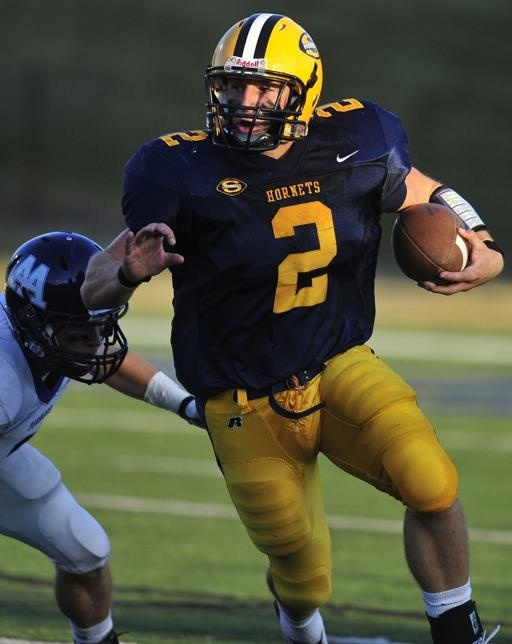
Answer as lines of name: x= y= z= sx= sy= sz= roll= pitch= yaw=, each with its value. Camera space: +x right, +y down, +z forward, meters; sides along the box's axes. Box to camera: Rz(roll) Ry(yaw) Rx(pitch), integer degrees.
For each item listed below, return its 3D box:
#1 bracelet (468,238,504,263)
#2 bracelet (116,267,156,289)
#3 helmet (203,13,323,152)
bracelet: x=0.673 y=-0.211 z=2.326 sx=0.052 sy=0.066 sz=0.052 roll=-50 pitch=17 yaw=-19
bracelet: x=-0.272 y=-0.102 z=1.797 sx=0.075 sy=0.046 sz=0.023 roll=9 pitch=57 yaw=20
helmet: x=0.032 y=-0.632 z=2.077 sx=0.329 sy=0.382 sz=0.293 roll=-1 pitch=10 yaw=-9
